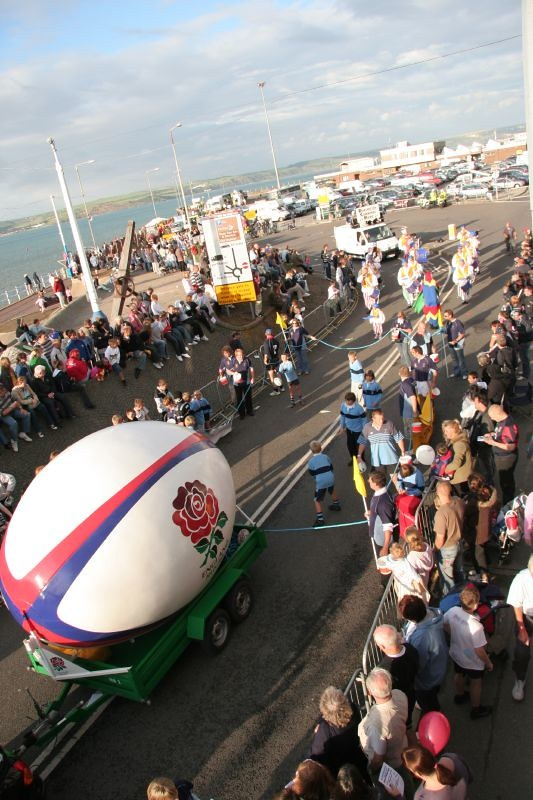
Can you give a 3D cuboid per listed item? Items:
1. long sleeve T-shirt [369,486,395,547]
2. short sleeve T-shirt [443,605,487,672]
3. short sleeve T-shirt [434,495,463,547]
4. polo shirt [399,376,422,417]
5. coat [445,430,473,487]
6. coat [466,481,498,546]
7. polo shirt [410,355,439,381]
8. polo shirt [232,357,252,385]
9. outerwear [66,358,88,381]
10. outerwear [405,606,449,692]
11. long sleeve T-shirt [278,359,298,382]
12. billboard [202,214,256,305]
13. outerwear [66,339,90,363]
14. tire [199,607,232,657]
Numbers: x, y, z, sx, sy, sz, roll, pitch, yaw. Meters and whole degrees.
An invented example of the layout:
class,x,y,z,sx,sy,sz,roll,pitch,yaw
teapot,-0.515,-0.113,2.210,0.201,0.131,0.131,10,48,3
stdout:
class,x,y,z,sx,sy,sz,roll,pitch,yaw
long sleeve T-shirt,1.481,1.482,6.663,0.306,0.751,0.782,-5,16,7
short sleeve T-shirt,1.675,2.060,4.409,0.199,0.573,0.389,-25,21,-24
short sleeve T-shirt,2.021,1.372,5.718,0.533,0.486,0.226,-9,6,-37
polo shirt,2.666,-0.078,9.574,0.343,0.660,0.609,3,24,22
coat,2.670,0.785,7.162,0.359,0.659,0.558,1,13,29
coat,2.437,1.258,5.919,0.301,1.009,0.356,-5,22,30
polo shirt,3.212,-0.694,10.633,0.559,0.508,0.315,11,46,41
polo shirt,-0.667,-0.765,13.254,0.541,0.839,0.449,-8,20,-16
outerwear,-4.741,-0.780,12.795,0.440,0.561,0.416,-3,34,25
outerwear,1.327,2.097,4.334,0.347,0.643,0.558,-1,14,25
long sleeve T-shirt,0.516,-0.804,13.861,0.523,0.617,0.332,-29,54,0
billboard,-1.240,-5.488,19.186,1.788,3.204,2.091,1,30,21
outerwear,-4.860,-1.284,13.210,0.199,0.508,0.479,23,43,39
tire,-0.618,2.741,6.041,0.174,0.506,0.558,-3,48,27
